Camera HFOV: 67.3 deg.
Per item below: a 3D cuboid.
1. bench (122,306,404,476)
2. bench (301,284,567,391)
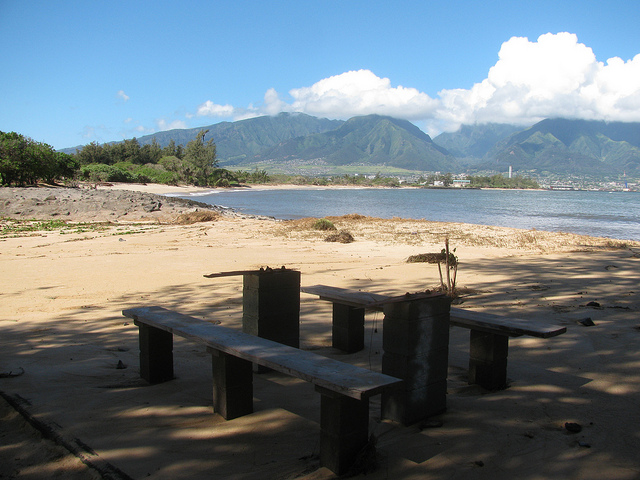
[{"bbox_3d":[-0.759,1.635,5.384,3.413,1.132,0.600,1,5,37],"label":"bench"},{"bbox_3d":[1.347,1.379,7.065,3.923,0.878,0.691,6,0,35],"label":"bench"}]
